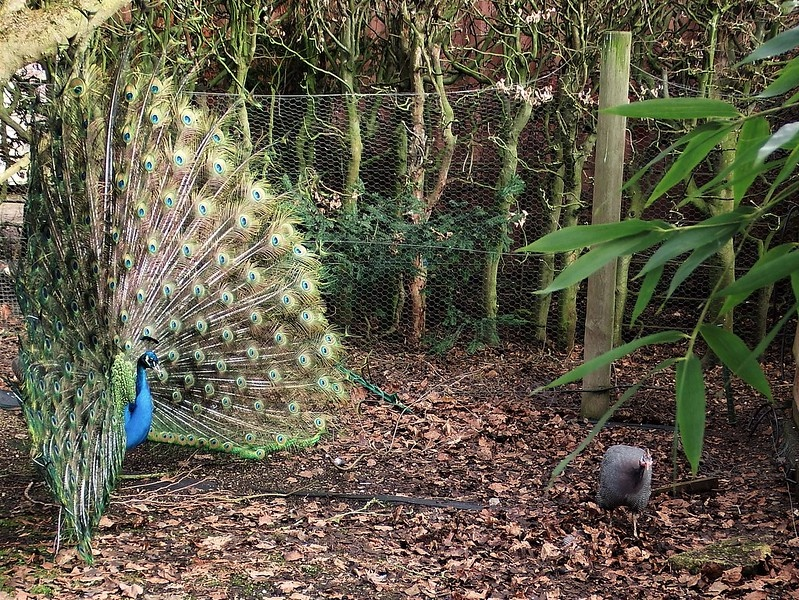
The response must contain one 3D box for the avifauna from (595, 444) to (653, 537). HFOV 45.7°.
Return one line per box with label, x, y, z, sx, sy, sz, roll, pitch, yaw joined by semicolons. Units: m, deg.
avifauna;1.443;1.228;6.139;0.328;0.546;0.289;2;7;10
